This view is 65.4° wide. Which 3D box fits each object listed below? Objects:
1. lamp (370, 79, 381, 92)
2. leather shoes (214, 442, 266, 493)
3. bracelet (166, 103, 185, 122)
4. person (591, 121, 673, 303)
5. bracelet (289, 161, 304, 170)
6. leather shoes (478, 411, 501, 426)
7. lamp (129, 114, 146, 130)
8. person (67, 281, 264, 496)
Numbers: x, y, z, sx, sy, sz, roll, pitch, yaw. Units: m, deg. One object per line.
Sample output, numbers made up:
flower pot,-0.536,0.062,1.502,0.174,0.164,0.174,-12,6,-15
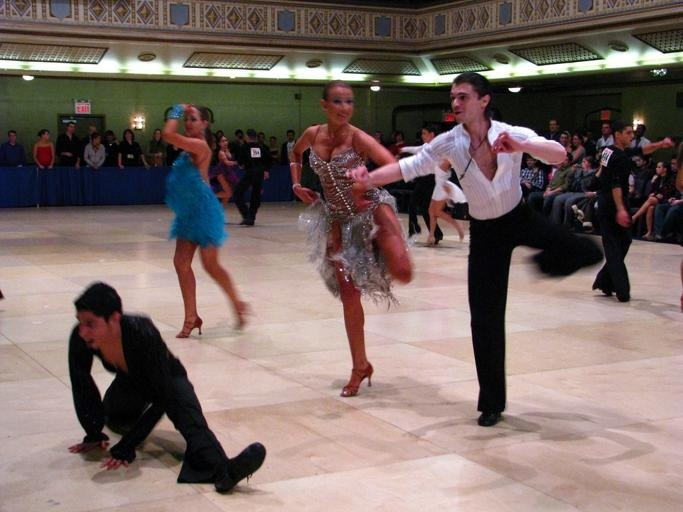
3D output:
lamp,1.355,-6.991,21.816,0.337,0.298,0.329,-9,29,-11
leather shoes,-0.482,0.977,2.445,0.169,0.270,0.211,-5,9,-36
bracelet,-1.606,-1.356,5.060,0.152,0.171,0.449,-3,8,-25
person,3.711,-0.568,6.838,0.957,2.204,0.702,-4,7,-21
bracelet,-0.453,-0.850,4.992,0.102,0.070,0.099,0,4,5
leather shoes,0.929,1.012,3.325,0.165,0.071,0.061,6,1,-43
lamp,-7.964,-5.217,20.593,0.645,0.577,0.151,-3,1,-9
person,-1.046,0.813,3.246,0.957,0.748,0.521,3,4,42
